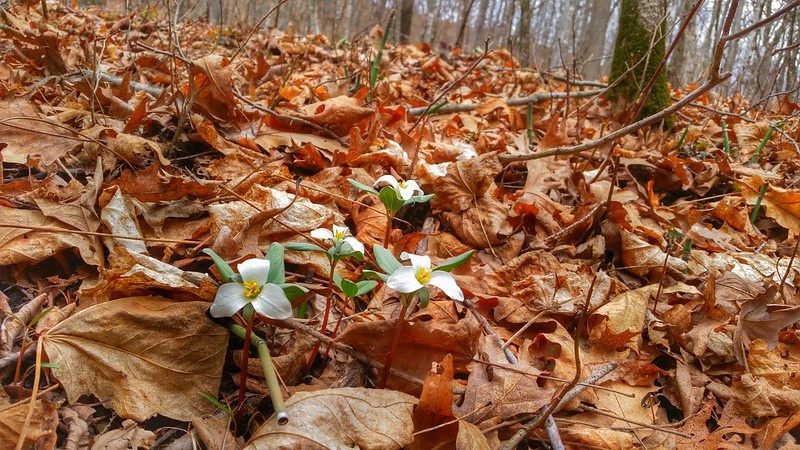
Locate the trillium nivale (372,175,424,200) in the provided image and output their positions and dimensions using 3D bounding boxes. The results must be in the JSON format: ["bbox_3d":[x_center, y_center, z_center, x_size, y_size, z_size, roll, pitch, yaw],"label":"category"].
[{"bbox_3d":[-0.023,-0.299,4.063,0.235,0.108,0.312,19,-7,-41],"label":"trillium nivale"}]

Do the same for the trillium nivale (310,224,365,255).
[{"bbox_3d":[-0.391,0.137,3.748,0.252,0.128,0.244,5,19,-39],"label":"trillium nivale"}]
